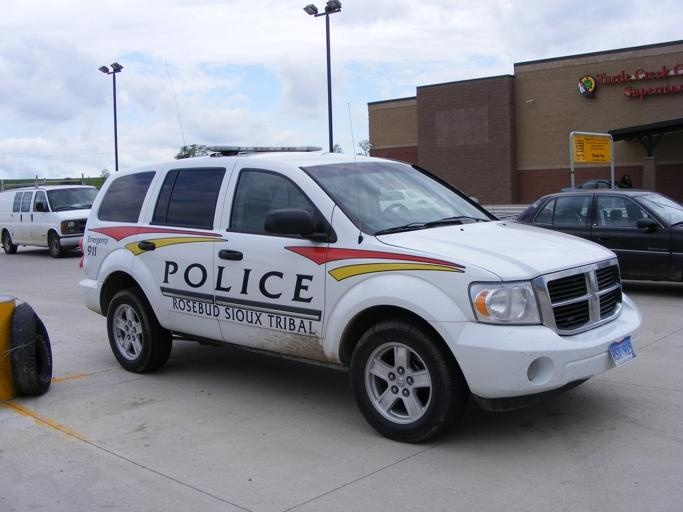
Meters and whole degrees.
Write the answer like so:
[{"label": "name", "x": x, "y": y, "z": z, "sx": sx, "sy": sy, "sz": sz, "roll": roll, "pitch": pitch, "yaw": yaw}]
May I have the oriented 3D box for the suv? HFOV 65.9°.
[{"label": "suv", "x": -0.083, "y": 0.267, "z": 5.677, "sx": 5.020, "sy": 2.242, "sz": 2.654, "roll": 0, "pitch": 3, "yaw": 37}]
